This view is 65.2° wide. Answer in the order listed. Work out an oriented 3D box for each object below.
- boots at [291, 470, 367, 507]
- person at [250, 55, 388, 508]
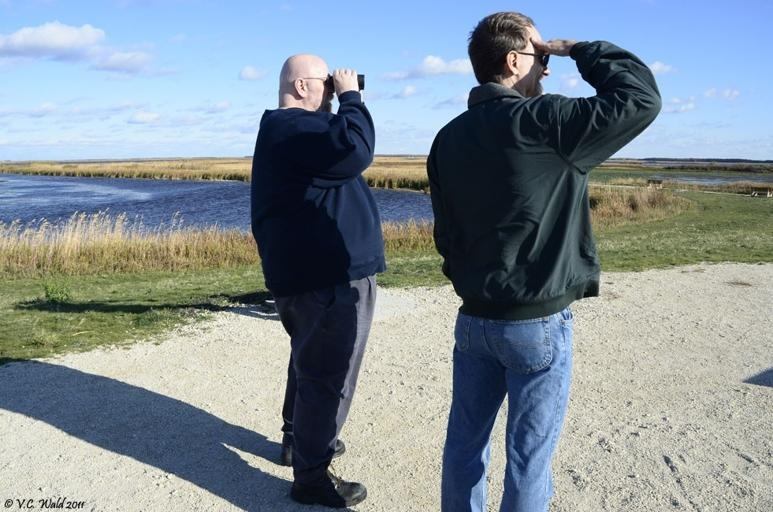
[{"bbox_3d":[-0.497,1.969,5.263,0.634,0.342,0.286,1,1,-8],"label":"boots"},{"bbox_3d":[-0.532,0.239,5.103,1.080,3.748,0.814,-3,13,-13],"label":"person"}]
